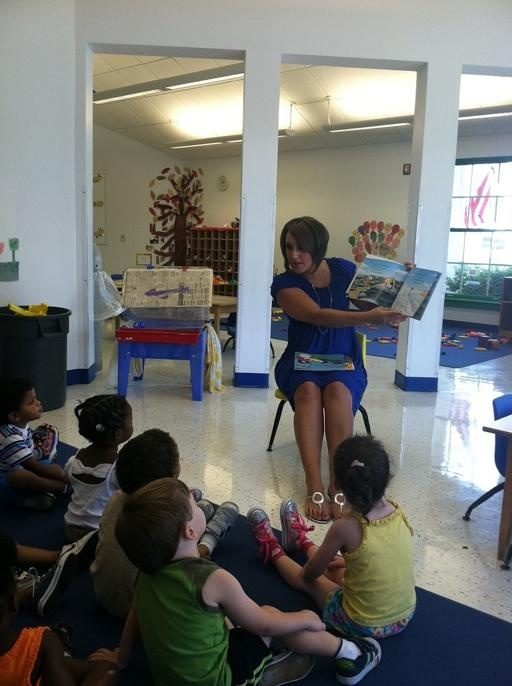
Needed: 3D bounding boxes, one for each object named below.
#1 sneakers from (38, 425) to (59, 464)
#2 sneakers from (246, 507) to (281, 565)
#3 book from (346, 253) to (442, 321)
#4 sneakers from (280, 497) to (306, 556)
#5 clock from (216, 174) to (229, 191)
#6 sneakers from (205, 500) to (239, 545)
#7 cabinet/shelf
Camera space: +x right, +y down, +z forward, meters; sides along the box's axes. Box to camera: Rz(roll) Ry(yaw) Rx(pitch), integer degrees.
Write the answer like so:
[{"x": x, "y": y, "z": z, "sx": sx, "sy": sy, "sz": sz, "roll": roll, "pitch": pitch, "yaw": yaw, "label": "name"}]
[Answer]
[{"x": -1.027, "y": 0.495, "z": 2.613, "sx": 0.102, "sy": 0.160, "sz": 0.064, "roll": 4, "pitch": -15, "yaw": 8, "label": "sneakers"}, {"x": 0.016, "y": 0.716, "z": 2.000, "sx": 0.074, "sy": 0.209, "sz": 0.081, "roll": -19, "pitch": -31, "yaw": -1, "label": "sneakers"}, {"x": 0.691, "y": -0.287, "z": 2.764, "sx": 0.389, "sy": 0.116, "sz": 0.576, "roll": 20, "pitch": -7, "yaw": 12, "label": "book"}, {"x": 0.146, "y": 0.708, "z": 2.040, "sx": 0.094, "sy": 0.231, "sz": 0.087, "roll": 9, "pitch": 13, "yaw": 41, "label": "sneakers"}, {"x": -0.844, "y": -4.008, "z": 13.217, "sx": 0.441, "sy": 0.415, "sz": 0.076, "roll": 9, "pitch": 14, "yaw": 43, "label": "clock"}, {"x": -0.137, "y": 0.699, "z": 2.084, "sx": 0.050, "sy": 0.054, "sz": 0.213, "roll": 19, "pitch": 18, "yaw": 6, "label": "sneakers"}, {"x": -1.005, "y": -2.150, "z": 12.739, "sx": 1.470, "sy": 1.266, "sz": 0.355, "roll": 6, "pitch": 6, "yaw": 33, "label": "cabinet/shelf"}]
